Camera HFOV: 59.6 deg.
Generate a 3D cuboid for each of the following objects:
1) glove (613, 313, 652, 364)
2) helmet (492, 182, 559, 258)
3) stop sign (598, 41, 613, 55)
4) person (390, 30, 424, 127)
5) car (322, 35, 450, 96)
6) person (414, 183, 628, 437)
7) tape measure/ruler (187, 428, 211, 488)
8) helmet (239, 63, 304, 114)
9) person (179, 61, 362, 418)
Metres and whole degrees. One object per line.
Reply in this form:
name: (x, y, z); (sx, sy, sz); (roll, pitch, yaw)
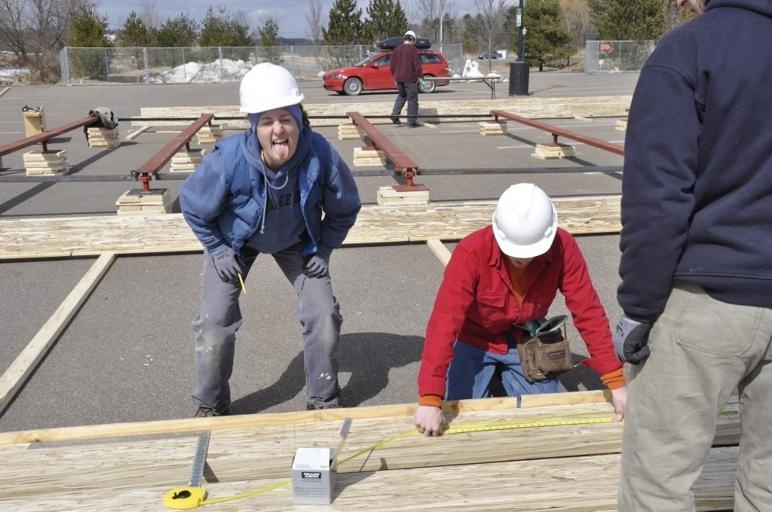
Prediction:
glove: (1.095, 0.375, 3.045); (0.153, 0.211, 0.143); (-3, -7, 7)
helmet: (0.803, -0.185, 3.923); (0.372, 0.417, 0.390); (0, 22, 13)
stop sign: (11.810, -11.192, 36.384); (0.583, 0.632, 0.146); (-22, -5, -24)
person: (0.437, -3.863, 14.639); (0.933, 1.803, 0.618); (-2, 5, -21)
car: (0.024, -6.527, 23.844); (4.483, 1.839, 1.762); (-5, 10, -13)
person: (0.865, 0.397, 4.494); (1.262, 1.857, 1.146); (-5, 55, 2)
tape measure/ruler: (-0.982, 1.080, 3.583); (0.070, 0.018, 0.416); (-12, 24, -2)
helmet: (-0.696, -1.004, 4.059); (0.364, 0.275, 0.381); (-9, 22, -10)
person: (-0.748, -0.020, 4.415); (1.172, 2.367, 1.197); (-1, 12, -13)
